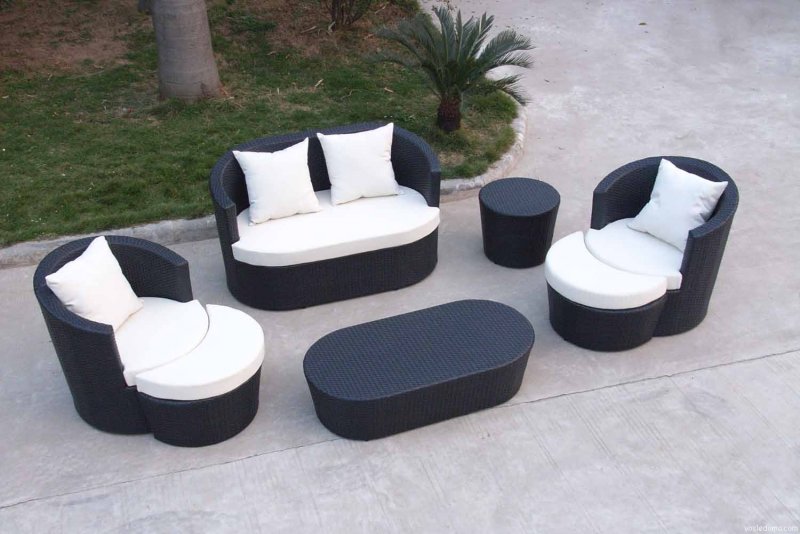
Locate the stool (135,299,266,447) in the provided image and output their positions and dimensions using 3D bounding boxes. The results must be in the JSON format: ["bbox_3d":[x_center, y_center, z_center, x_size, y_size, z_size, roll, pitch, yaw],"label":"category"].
[{"bbox_3d":[-2.028,1.117,7.579,1.258,0.817,1.280,-9,32,-18],"label":"stool"}]

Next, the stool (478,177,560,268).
[{"bbox_3d":[1.489,-0.561,9.059,0.994,0.864,0.970,-17,43,-16],"label":"stool"}]

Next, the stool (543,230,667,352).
[{"bbox_3d":[2.235,0.287,8.304,1.237,0.783,1.285,-15,34,-22],"label":"stool"}]
